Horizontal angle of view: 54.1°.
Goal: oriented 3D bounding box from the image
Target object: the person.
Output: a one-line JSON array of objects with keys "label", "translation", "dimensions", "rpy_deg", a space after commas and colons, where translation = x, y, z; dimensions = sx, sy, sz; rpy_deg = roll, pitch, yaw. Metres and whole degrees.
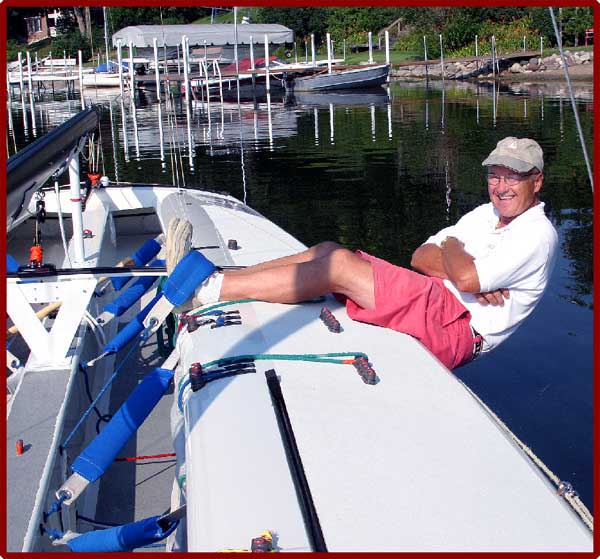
[{"label": "person", "translation": [0.301, -0.170, 2.587], "dimensions": [1.579, 0.941, 0.577], "rpy_deg": [6, 9, 7]}]

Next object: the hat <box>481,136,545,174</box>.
[{"label": "hat", "translation": [0.846, -0.473, 2.343], "dimensions": [0.218, 0.105, 0.156], "rpy_deg": [-1, 8, -38]}]
